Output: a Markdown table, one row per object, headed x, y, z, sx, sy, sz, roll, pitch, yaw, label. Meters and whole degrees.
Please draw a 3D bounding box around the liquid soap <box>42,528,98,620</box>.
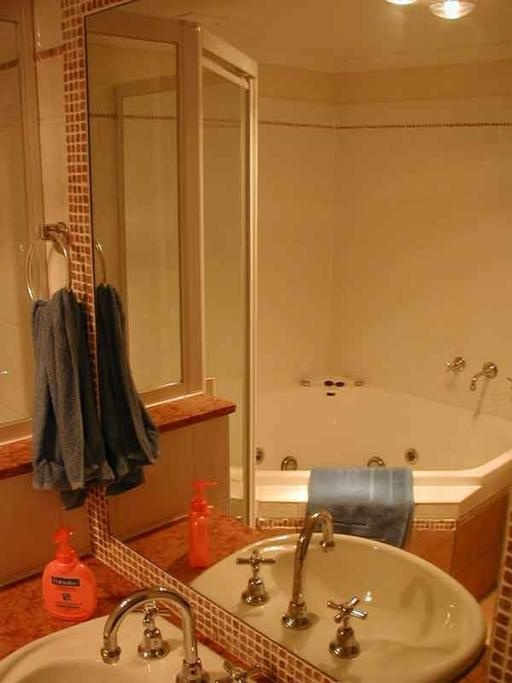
| x | y | z | sx | sy | sz | roll | pitch | yaw | label |
| --- | --- | --- | --- | --- | --- | --- | --- | --- | --- |
| -0.356 | 0.438 | 1.143 | 0.108 | 0.184 | 0.064 | 3 | 19 | 7 | liquid soap |
